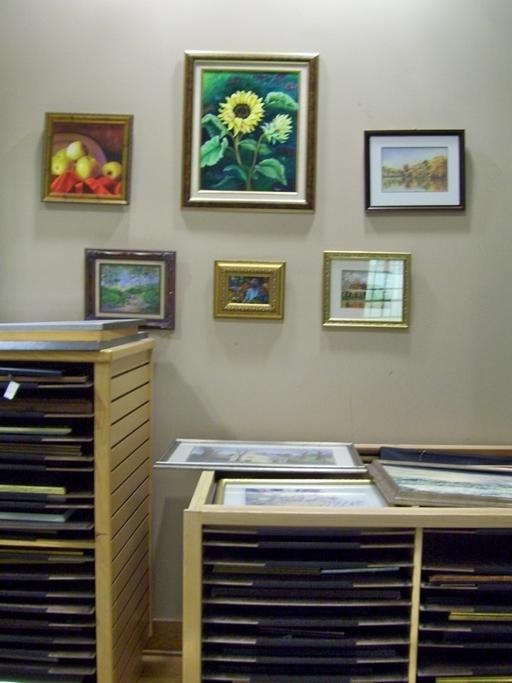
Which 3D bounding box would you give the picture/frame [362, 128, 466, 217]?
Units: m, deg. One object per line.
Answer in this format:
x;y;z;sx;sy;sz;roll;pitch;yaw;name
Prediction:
0.583;-0.630;2.214;0.322;0.246;0.025;0;0;2;picture/frame

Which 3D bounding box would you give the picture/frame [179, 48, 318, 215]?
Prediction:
-0.021;-0.794;2.216;0.619;0.623;0.046;1;2;0;picture/frame

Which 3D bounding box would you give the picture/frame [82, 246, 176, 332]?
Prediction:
-0.455;-0.200;2.220;0.334;0.297;0.044;1;2;1;picture/frame

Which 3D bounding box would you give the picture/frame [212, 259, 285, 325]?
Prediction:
-0.026;-0.194;2.246;0.241;0.194;0.020;0;3;0;picture/frame

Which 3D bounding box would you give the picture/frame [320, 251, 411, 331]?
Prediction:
0.413;-0.194;2.243;0.302;0.250;0.025;0;0;0;picture/frame
